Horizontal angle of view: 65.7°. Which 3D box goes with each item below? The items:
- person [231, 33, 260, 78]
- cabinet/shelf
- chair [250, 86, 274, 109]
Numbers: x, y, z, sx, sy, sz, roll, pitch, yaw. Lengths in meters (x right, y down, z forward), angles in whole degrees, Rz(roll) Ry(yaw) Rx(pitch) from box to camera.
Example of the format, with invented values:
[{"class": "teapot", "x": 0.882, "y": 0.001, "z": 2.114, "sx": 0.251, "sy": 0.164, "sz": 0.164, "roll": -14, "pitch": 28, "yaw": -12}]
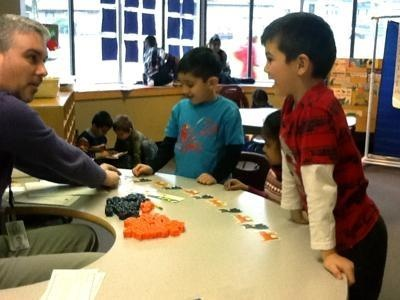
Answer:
[{"class": "person", "x": 1.134, "y": -2.149, "z": 7.038, "sx": 0.711, "sy": 0.758, "sz": 0.196, "roll": 1, "pitch": 8, "yaw": 0}, {"class": "cabinet/shelf", "x": -1.109, "y": -0.253, "z": 2.305, "sx": 0.206, "sy": 0.388, "sz": 0.653, "roll": -4, "pitch": 18, "yaw": -10}, {"class": "chair", "x": 1.063, "y": -0.907, "z": 5.340, "sx": 0.274, "sy": 0.383, "sz": 0.417, "roll": -4, "pitch": 18, "yaw": 2}]
